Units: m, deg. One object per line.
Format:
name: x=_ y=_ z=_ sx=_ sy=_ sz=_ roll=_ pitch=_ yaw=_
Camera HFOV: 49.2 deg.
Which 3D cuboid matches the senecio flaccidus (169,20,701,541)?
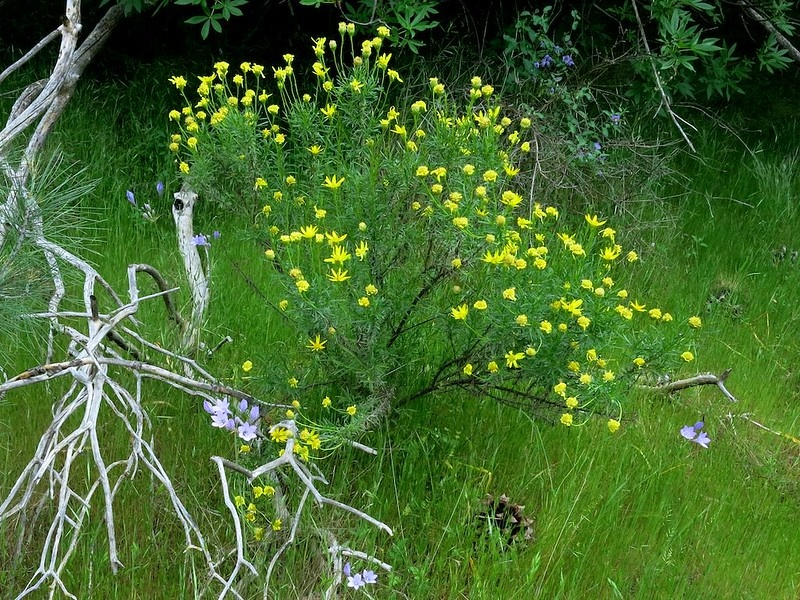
senecio flaccidus: x=0.038 y=-0.426 z=4.565 sx=1.708 sy=3.684 sz=2.331 roll=4 pitch=17 yaw=5
